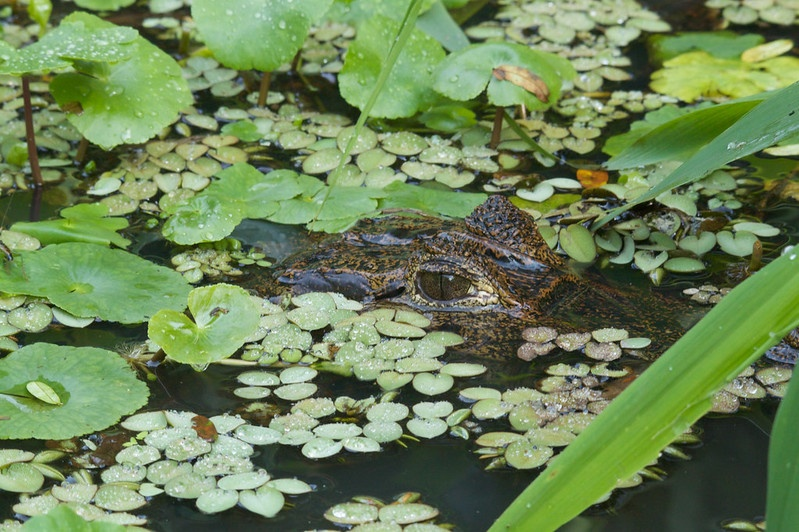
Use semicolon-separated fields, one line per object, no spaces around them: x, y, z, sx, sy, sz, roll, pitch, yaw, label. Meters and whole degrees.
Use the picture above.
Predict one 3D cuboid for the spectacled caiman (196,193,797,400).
0.384;0.089;4.346;2.968;0.824;0.881;15;44;27;spectacled caiman
